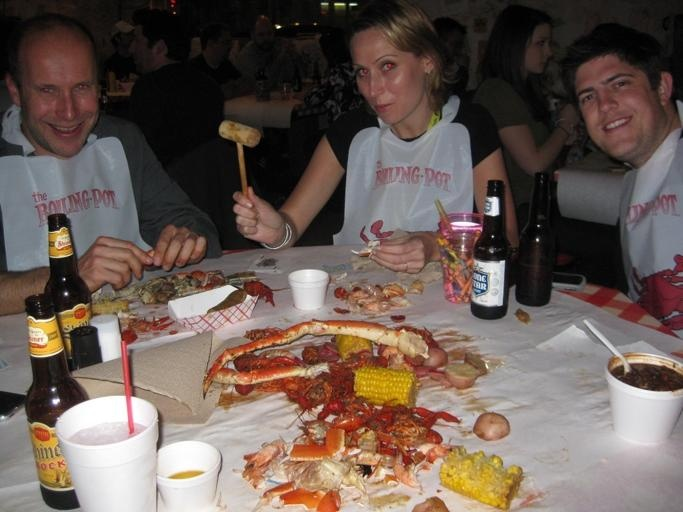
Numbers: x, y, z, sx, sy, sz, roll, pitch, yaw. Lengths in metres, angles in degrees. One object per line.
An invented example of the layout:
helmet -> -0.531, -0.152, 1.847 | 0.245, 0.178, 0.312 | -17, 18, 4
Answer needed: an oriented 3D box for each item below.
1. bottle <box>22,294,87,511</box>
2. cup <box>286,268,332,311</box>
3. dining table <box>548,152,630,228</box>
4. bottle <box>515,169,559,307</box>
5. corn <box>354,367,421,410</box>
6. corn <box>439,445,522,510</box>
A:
bottle -> -0.661, 0.359, 1.377 | 0.170, 0.498, 0.172 | 4, 13, -1
cup -> -0.133, 0.129, 2.162 | 0.164, 0.114, 0.164 | 0, 14, 0
dining table -> 1.587, -0.319, 3.534 | 0.575, 0.385, 0.423 | 14, 40, 30
bottle -> 0.747, -0.067, 2.098 | 0.142, 0.484, 0.170 | 10, 17, 27
corn -> 0.139, 0.382, 1.624 | 0.178, 0.088, 0.063 | 0, -21, 15
corn -> 0.360, 0.555, 1.410 | 0.174, 0.098, 0.147 | 10, 20, 34
